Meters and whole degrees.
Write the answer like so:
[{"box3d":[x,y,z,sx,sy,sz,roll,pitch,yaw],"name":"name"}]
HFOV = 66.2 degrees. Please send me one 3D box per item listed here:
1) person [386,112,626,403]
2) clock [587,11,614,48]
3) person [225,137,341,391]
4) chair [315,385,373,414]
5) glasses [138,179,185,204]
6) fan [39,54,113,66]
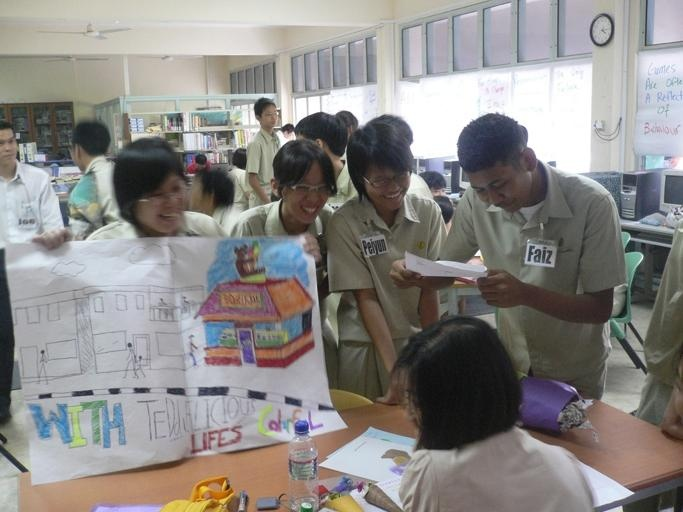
[{"box3d":[0.716,0.279,2.248,0.856,1.676,0.866,-2,12,12],"name":"person"},{"box3d":[2.996,-2.584,5.979,0.072,0.376,0.290,-8,12,-24],"name":"clock"},{"box3d":[-0.221,0.092,2.336,0.456,1.193,0.517,-6,11,-10],"name":"person"},{"box3d":[0.035,0.579,2.214,0.112,0.168,0.130,-8,-8,37],"name":"chair"},{"box3d":[-0.639,-0.229,1.859,0.164,0.093,0.050,-10,12,-26],"name":"glasses"},{"box3d":[-7.569,-5.601,14.863,1.695,0.184,0.333,-8,12,-19],"name":"fan"}]
